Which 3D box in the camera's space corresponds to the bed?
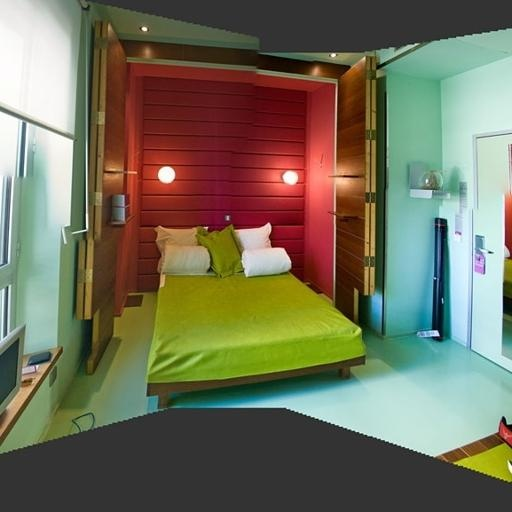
[{"bbox_3d":[-0.109,0.527,2.953,1.308,0.398,1.336,-2,10,-16],"label":"bed"}]
